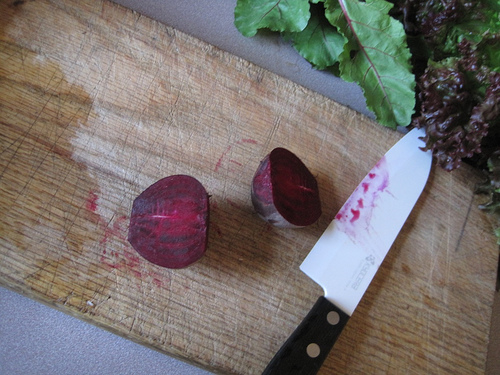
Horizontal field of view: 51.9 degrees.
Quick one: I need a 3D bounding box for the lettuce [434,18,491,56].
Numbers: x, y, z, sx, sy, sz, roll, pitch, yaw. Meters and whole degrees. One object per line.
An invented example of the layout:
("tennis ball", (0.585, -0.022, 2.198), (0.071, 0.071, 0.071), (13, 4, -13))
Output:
("lettuce", (0.787, -0.548, 1.903), (0.129, 0.163, 0.111), (43, 49, 11))
